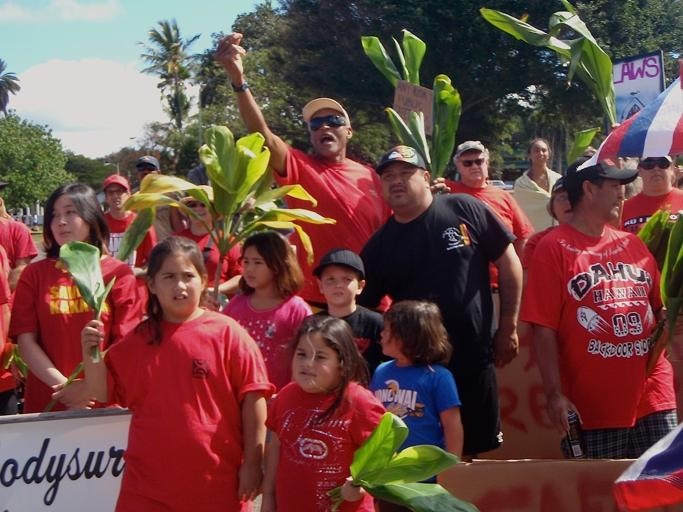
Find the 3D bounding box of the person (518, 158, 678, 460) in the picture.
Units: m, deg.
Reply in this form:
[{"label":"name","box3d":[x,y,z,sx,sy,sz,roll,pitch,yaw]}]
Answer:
[{"label":"person","box3d":[1.609,0.273,4.555,0.954,1.945,0.485,0,-11,4]}]

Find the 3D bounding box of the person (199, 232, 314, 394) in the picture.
[{"label":"person","box3d":[-0.507,0.365,4.488,0.647,1.437,0.534,-12,-20,37]}]

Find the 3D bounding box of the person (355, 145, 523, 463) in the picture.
[{"label":"person","box3d":[0.718,0.517,4.887,1.015,2.594,0.882,-9,11,4]}]

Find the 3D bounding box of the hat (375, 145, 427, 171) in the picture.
[{"label":"hat","box3d":[0.394,-0.681,4.837,0.320,0.228,0.255,1,-12,1]}]

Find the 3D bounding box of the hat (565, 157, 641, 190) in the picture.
[{"label":"hat","box3d":[1.651,-0.522,4.582,0.357,0.152,0.240,-4,1,12]}]

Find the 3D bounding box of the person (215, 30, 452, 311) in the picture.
[{"label":"person","box3d":[0.002,-0.357,5.420,1.393,2.633,0.775,-9,-4,-31]}]

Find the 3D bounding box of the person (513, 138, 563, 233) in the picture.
[{"label":"person","box3d":[2.482,-1.175,9.388,0.483,1.256,0.358,-31,-70,32]}]
